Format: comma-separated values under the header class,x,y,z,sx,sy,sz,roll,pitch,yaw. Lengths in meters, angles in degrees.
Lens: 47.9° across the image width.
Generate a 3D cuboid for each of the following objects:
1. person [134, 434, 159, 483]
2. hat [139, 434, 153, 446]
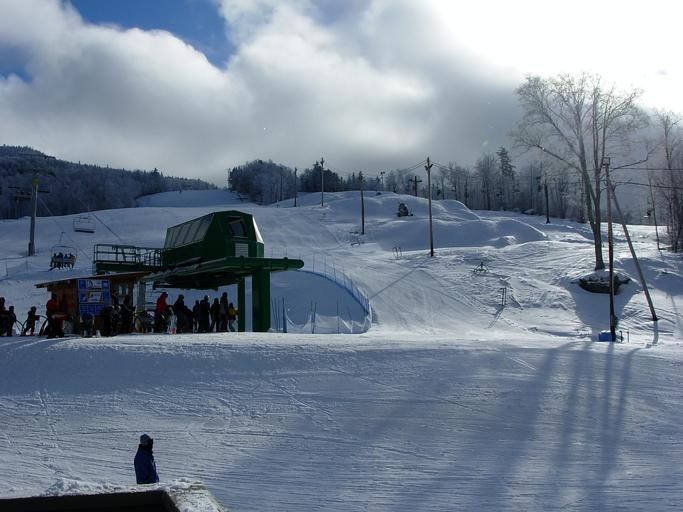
class,x,y,z,sx,sy,sz,roll,pitch,yaw
person,-5.456,5.673,21.688,0.648,1.354,1.481,-2,-2,-15
hat,-5.403,5.141,21.590,0.294,0.412,0.434,-2,2,15
